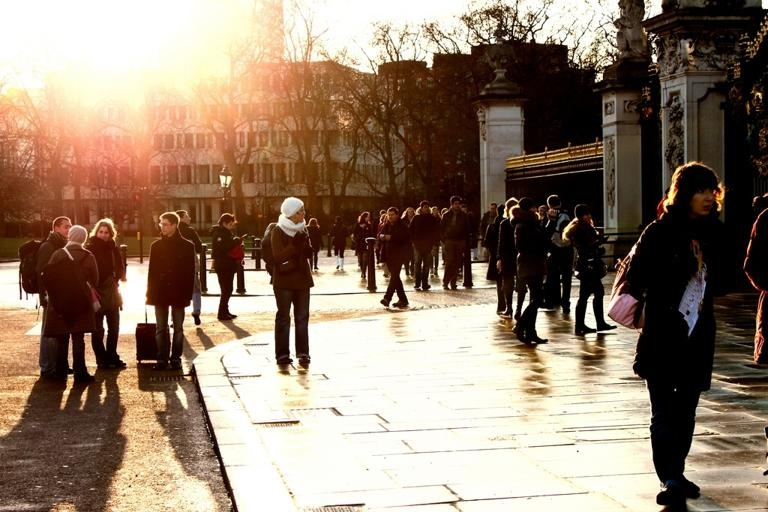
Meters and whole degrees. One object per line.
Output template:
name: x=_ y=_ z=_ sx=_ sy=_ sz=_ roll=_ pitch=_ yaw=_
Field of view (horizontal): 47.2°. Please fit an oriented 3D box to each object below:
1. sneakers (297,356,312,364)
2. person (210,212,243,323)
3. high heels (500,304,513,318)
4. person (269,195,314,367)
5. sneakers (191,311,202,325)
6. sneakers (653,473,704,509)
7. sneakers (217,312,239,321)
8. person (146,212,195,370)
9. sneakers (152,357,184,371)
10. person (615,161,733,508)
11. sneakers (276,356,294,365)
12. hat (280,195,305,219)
sneakers: x=-1.096 y=1.416 z=11.959 sx=0.150 sy=0.104 sz=0.091 roll=2 pitch=1 yaw=-15
person: x=-3.156 y=0.197 z=17.711 sx=0.603 sy=2.112 sz=1.166 roll=-3 pitch=4 yaw=-11
high heels: x=2.291 y=1.043 z=16.416 sx=0.108 sy=0.220 sz=0.327 roll=-1 pitch=5 yaw=-38
person: x=-1.279 y=0.330 z=12.137 sx=0.558 sy=2.244 sz=0.608 roll=-3 pitch=4 yaw=-6
sneakers: x=-3.594 y=1.184 z=16.713 sx=0.137 sy=0.388 sz=0.152 roll=-4 pitch=3 yaw=-7
sneakers: x=2.203 y=1.757 z=6.600 sx=0.262 sy=0.178 sz=0.407 roll=-1 pitch=4 yaw=31
sneakers: x=-3.121 y=1.190 z=17.500 sx=0.392 sy=0.270 sz=0.144 roll=-1 pitch=8 yaw=-20
person: x=-2.998 y=0.479 z=12.302 sx=0.683 sy=2.174 sz=0.481 roll=-4 pitch=4 yaw=-14
sneakers: x=-3.019 y=1.498 z=12.241 sx=0.411 sy=0.184 sz=0.153 roll=4 pitch=-3 yaw=-6
person: x=2.241 y=0.560 z=6.713 sx=0.844 sy=2.524 sz=0.627 roll=-2 pitch=4 yaw=5
sneakers: x=-1.352 y=1.420 z=11.970 sx=0.220 sy=0.106 sz=0.188 roll=-4 pitch=4 yaw=-19
hat: x=-1.290 y=-0.695 z=12.289 sx=0.315 sy=0.269 sz=0.266 roll=-13 pitch=14 yaw=-5
